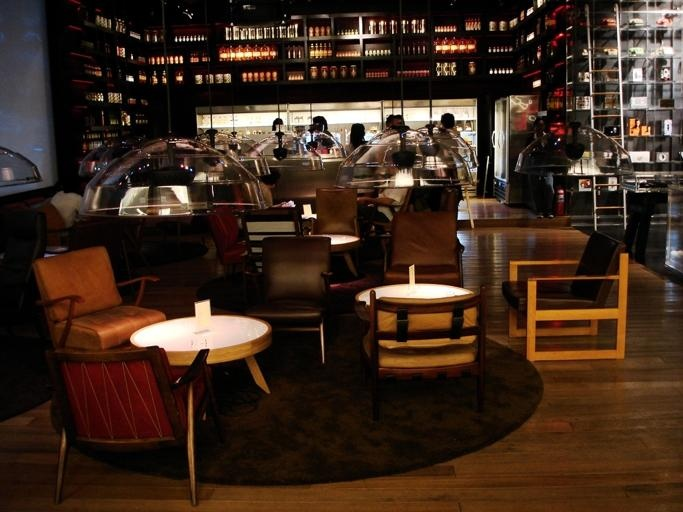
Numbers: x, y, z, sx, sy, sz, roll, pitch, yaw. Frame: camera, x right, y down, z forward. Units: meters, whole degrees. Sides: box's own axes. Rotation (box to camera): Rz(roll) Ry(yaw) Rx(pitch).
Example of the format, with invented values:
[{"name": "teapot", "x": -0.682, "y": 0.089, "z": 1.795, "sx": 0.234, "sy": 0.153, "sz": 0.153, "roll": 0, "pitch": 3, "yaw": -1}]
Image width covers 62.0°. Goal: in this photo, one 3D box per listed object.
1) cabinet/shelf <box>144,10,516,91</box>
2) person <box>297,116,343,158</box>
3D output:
[{"name": "cabinet/shelf", "x": -0.005, "y": -4.671, "z": 13.017, "sx": 8.486, "sy": 1.518, "sz": 0.770, "roll": -5, "pitch": 9, "yaw": -10}, {"name": "person", "x": -0.304, "y": -1.641, "z": 8.037, "sx": 0.820, "sy": 0.445, "sz": 0.765, "roll": 0, "pitch": 10, "yaw": 3}]
